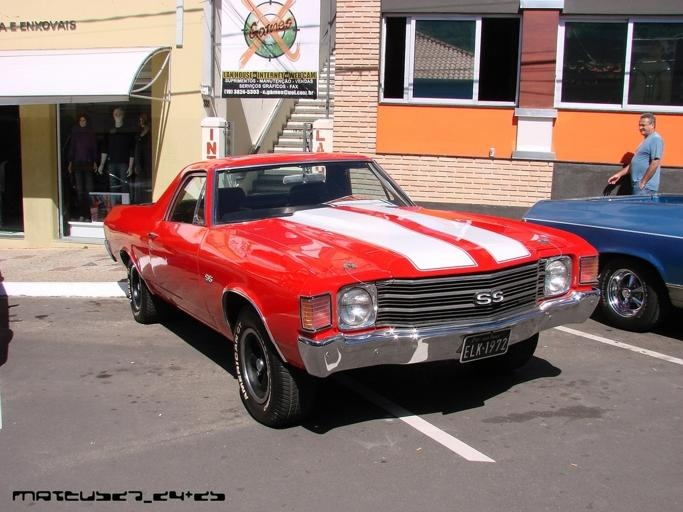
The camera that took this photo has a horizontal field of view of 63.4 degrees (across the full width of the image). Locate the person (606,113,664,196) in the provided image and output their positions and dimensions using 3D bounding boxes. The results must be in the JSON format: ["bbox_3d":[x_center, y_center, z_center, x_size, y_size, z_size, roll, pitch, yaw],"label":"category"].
[{"bbox_3d":[5.154,-1.695,9.235,0.418,1.305,0.555,4,12,21],"label":"person"}]
